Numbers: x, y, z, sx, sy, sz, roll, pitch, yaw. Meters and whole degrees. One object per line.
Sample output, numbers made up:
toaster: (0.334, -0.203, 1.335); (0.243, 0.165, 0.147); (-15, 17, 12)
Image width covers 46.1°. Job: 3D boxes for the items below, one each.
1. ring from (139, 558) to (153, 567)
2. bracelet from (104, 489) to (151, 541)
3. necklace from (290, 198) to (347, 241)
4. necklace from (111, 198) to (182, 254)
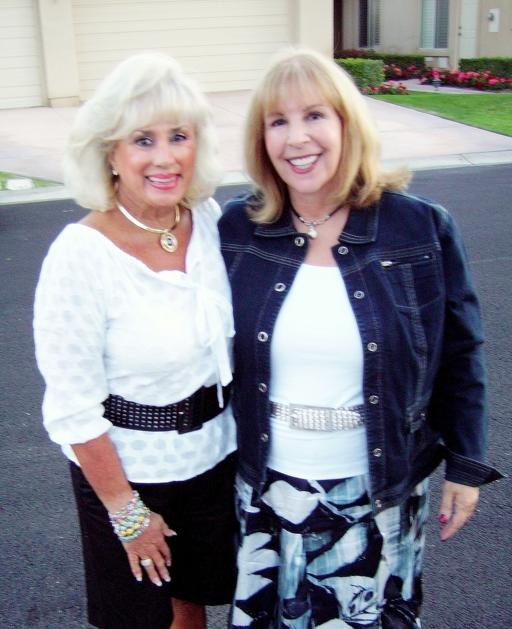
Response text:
ring: (-0.310, 0.684, 1.665); (0.030, 0.016, 0.025); (2, 2, 0)
bracelet: (-0.365, 0.551, 1.692); (0.124, 0.128, 0.059); (-19, 5, -24)
necklace: (0.173, -0.272, 1.768); (0.131, 0.037, 0.104); (4, 60, 18)
necklace: (-0.265, -0.252, 1.715); (0.155, 0.060, 0.144); (-5, 54, -16)
